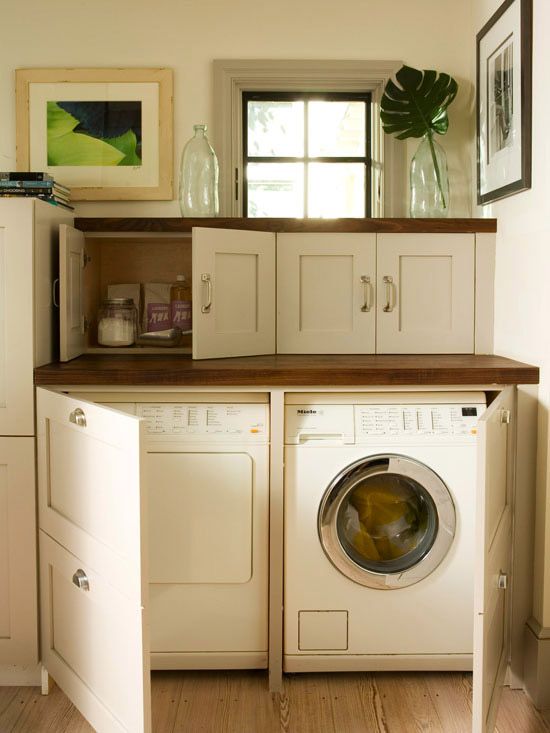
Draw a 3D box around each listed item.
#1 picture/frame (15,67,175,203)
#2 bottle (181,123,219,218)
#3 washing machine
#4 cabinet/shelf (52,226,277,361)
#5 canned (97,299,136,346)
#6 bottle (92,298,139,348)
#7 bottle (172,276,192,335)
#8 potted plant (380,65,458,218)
[{"bbox_3d":[-0.646,-0.841,2.358,0.526,0.547,0.047,0,4,2],"label":"picture/frame"},{"bbox_3d":[-0.247,-0.631,2.145,0.121,0.313,0.147,-1,5,-7],"label":"bottle"},{"bbox_3d":[0.303,0.356,1.961,0.506,0.921,0.465,-2,26,4],"label":"washing machine"},{"bbox_3d":[-0.320,-0.233,2.154,0.641,0.400,0.609,0,6,-3],"label":"cabinet/shelf"},{"bbox_3d":[-0.541,-0.153,2.333,0.121,0.179,0.160,2,8,8],"label":"canned"},{"bbox_3d":[-0.552,-0.157,2.326,0.129,0.173,0.142,2,12,-1],"label":"bottle"},{"bbox_3d":[-0.329,-0.220,2.401,0.112,0.183,0.037,3,-7,-26],"label":"bottle"},{"bbox_3d":[0.528,-0.771,2.300,0.257,0.461,0.170,-8,5,13],"label":"potted plant"}]
